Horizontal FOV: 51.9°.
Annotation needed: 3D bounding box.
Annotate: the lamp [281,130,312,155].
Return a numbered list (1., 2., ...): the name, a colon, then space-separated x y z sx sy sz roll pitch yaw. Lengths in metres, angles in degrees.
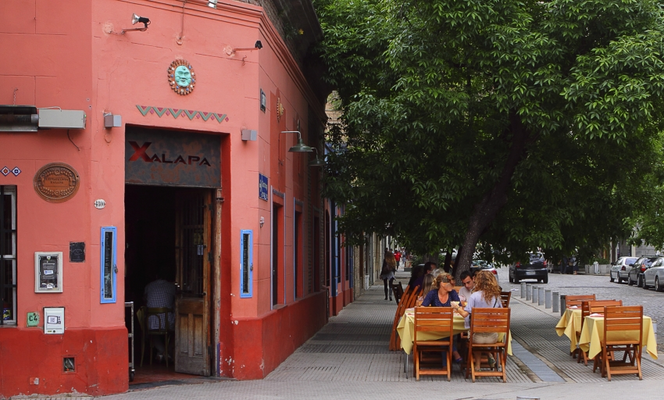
1. lamp: -0.919 -1.561 17.643 0.920 0.595 0.676 -3 -3 43

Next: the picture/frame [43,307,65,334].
1. picture/frame: -5.599 2.444 13.718 0.500 0.630 0.084 0 -5 -6

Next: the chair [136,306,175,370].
1. chair: -4.263 3.257 16.553 0.902 1.313 0.968 0 -7 9

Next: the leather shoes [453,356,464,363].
1. leather shoes: 3.014 3.839 16.333 0.123 0.072 0.256 -2 -7 -44

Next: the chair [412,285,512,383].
1. chair: 3.029 3.042 16.230 1.731 1.531 2.417 1 0 0

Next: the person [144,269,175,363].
1. person: -4.184 2.775 16.627 0.797 2.335 0.761 6 15 0

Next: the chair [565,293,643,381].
1. chair: 6.417 3.161 15.640 1.263 1.660 1.749 -1 -6 12

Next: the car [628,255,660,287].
1. car: 19.182 4.374 42.406 1.253 1.079 2.861 -1 -1 1

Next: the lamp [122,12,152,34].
1. lamp: -4.062 -3.727 14.340 0.569 0.285 0.326 -16 -8 14

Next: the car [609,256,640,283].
1. car: 20.196 4.836 47.386 1.276 1.170 2.870 0 1 2
